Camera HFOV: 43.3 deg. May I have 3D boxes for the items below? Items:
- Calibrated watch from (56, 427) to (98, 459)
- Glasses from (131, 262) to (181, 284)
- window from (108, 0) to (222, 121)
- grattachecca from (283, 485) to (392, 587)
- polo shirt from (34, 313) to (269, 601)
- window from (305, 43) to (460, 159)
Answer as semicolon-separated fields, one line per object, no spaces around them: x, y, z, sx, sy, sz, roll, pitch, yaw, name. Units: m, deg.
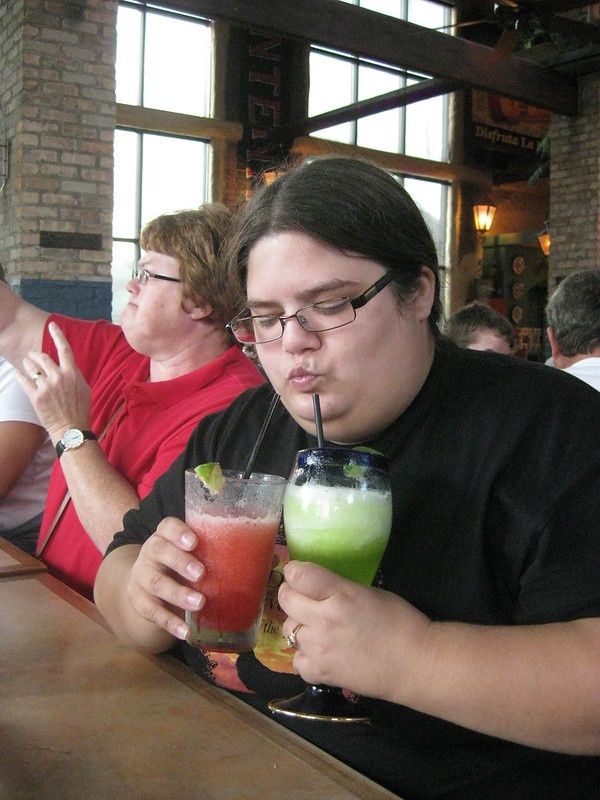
-0.512;0.100;1.733;0.084;0.068;0.066;8;0;-17;Calibrated watch
-0.355;-0.306;1.884;0.087;0.022;0.076;6;-4;-18;Glasses
-1.455;-3.697;8.166;0.254;1.230;1.239;10;1;44;window
0.040;0.163;0.902;0.145;0.126;0.137;-4;-5;26;grattachecca
-0.418;0.055;2.083;0.451;0.695;0.788;-28;53;-27;polo shirt
1.027;-3.778;9.885;0.439;1.409;2.573;9;1;42;window
